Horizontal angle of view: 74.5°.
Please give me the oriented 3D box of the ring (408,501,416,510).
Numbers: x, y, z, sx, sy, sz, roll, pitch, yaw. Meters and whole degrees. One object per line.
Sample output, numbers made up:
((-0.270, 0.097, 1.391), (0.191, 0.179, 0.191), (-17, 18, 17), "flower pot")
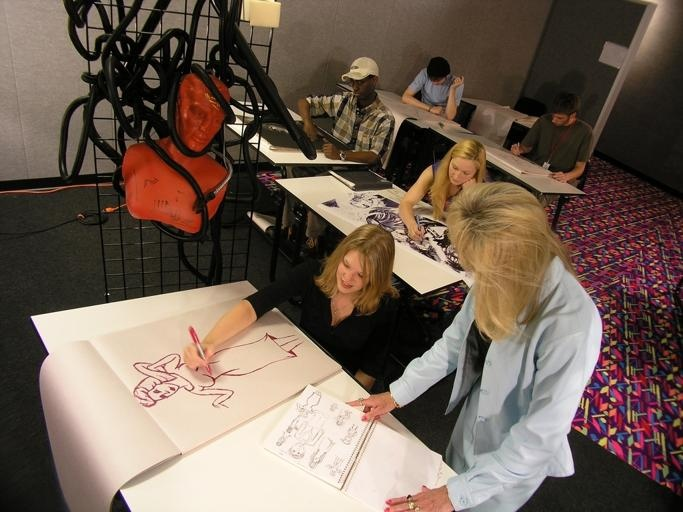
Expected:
((0.208, 0.726, 1.309), (0.018, 0.005, 0.017), (-1, 67, 3), "ring")

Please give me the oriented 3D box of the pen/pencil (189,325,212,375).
((-0.483, 0.324, 1.528), (0.161, 0.017, 0.018), (62, 23, 6), "pen/pencil")

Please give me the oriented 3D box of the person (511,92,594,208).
((2.051, -1.075, 4.432), (0.711, 0.951, 0.696), (-15, 41, -18), "person")

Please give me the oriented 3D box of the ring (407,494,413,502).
((0.199, 0.708, 1.321), (0.016, 0.011, 0.008), (-3, -6, 8), "ring")

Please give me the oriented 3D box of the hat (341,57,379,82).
((0.146, -1.571, 3.747), (0.363, 0.204, 0.243), (-12, 31, -25), "hat")

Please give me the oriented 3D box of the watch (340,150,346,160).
((0.012, -0.776, 3.432), (0.053, 0.015, 0.055), (2, 66, -28), "watch")

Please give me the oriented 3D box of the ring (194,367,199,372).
((-0.488, 0.377, 1.507), (0.014, 0.015, 0.003), (-1, -6, -2), "ring")

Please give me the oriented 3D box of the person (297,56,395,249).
((0.013, -0.893, 4.037), (0.842, 1.715, 0.864), (23, 29, 34), "person")
